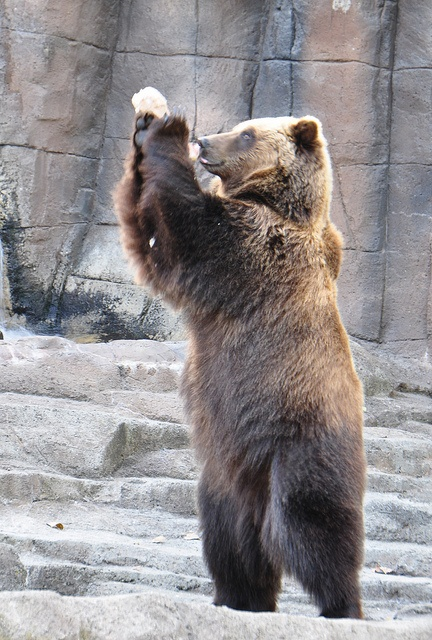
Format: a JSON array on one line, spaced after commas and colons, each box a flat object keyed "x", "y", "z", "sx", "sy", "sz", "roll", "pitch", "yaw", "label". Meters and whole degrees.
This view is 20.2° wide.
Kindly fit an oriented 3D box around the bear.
[{"x": 0.256, "y": 0.244, "z": 6.134, "sx": 0.738, "sy": 2.381, "sz": 1.611, "roll": -11, "pitch": 22, "yaw": -42, "label": "bear"}]
